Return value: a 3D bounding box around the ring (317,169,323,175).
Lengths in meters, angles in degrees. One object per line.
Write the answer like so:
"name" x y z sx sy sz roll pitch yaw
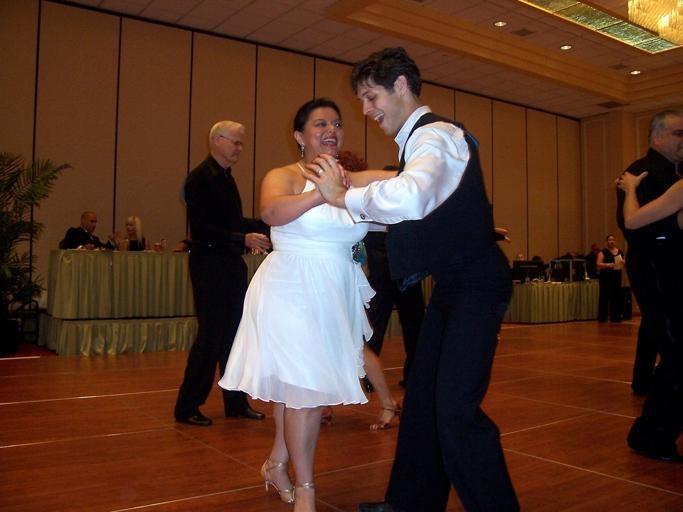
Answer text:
"ring" -0.095 -0.374 2.486 0.006 0.030 0.026 -2 7 -37

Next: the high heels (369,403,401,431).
"high heels" 0.311 1.123 3.944 0.097 0.143 0.294 -20 -18 26

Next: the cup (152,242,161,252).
"cup" -2.486 -0.132 7.565 0.099 0.182 0.153 2 -5 1

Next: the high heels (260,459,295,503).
"high heels" -0.365 1.140 2.858 0.283 0.197 0.098 3 -2 45

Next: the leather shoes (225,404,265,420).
"leather shoes" -0.700 1.136 4.134 0.294 0.153 0.119 -3 -4 8

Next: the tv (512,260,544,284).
"tv" 3.352 0.300 10.158 0.514 0.371 0.419 0 -5 1
